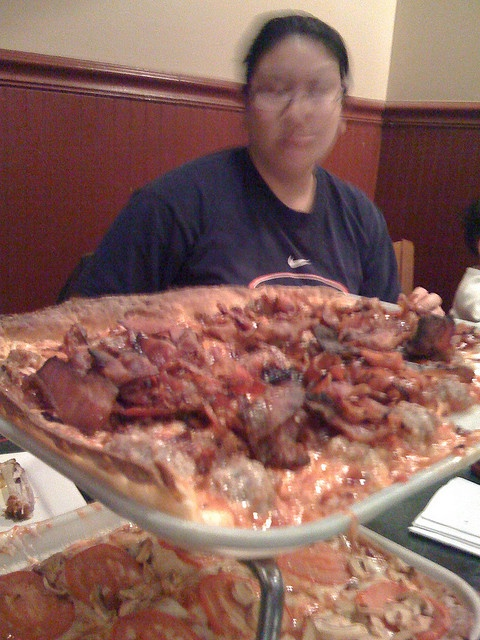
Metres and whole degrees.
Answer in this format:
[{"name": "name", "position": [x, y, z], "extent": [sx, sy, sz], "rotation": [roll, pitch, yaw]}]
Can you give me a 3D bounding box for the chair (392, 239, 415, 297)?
[{"name": "chair", "position": [0.911, -0.296, 3.109], "extent": [0.106, 0.300, 0.168], "rotation": [0, 5, 12]}]
